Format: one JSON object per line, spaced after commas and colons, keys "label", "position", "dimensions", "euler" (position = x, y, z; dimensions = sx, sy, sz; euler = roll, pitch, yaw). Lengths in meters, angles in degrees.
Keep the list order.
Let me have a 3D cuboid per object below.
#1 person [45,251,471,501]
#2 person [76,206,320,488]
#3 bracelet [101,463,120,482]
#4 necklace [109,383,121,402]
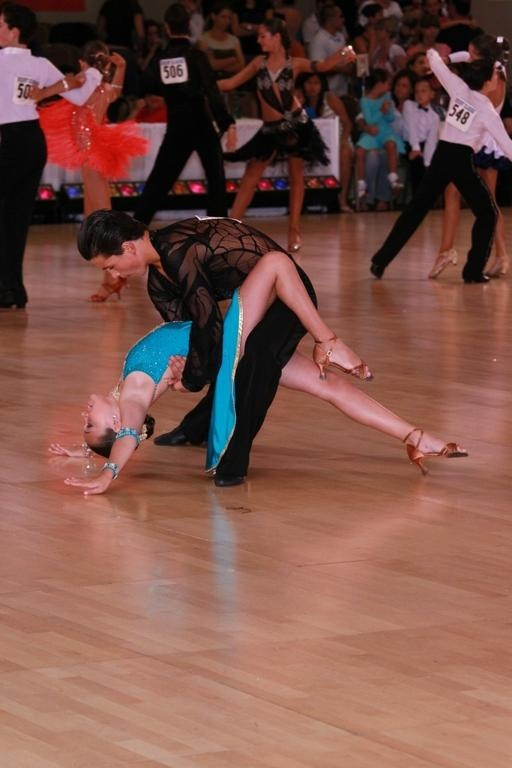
{"label": "person", "position": [-0.185, -0.129, 2.438], "dimensions": [0.708, 0.822, 0.467], "euler": [2, 17, 17]}
{"label": "person", "position": [-0.134, -0.112, 2.486], "dimensions": [0.599, 0.962, 0.565], "euler": [23, 38, 33]}
{"label": "bracelet", "position": [-0.438, 0.261, 2.216], "dimensions": [0.045, 0.055, 0.026], "euler": [12, 33, 20]}
{"label": "necklace", "position": [-0.473, 0.034, 2.427], "dimensions": [0.030, 0.054, 0.040], "euler": [8, 55, -18]}
